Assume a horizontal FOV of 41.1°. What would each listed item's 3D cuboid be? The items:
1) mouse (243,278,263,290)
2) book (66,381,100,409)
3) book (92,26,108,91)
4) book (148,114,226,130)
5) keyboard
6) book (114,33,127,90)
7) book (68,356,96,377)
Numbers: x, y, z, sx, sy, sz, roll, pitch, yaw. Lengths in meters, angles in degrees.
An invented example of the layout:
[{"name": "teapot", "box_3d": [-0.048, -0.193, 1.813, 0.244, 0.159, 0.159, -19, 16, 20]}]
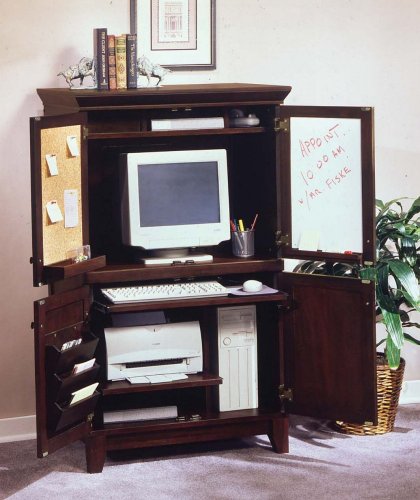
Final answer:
[{"name": "mouse", "box_3d": [0.166, 0.138, 2.254, 0.045, 0.025, 0.047, -2, 13, 11]}, {"name": "book", "box_3d": [-0.467, 0.524, 2.040, 0.018, 0.097, 0.167, 40, 25, 19]}, {"name": "book", "box_3d": [-0.436, -0.744, 2.195, 0.081, 0.232, 0.043, 2, 5, 38]}, {"name": "book", "box_3d": [-0.092, -0.515, 2.289, 0.297, 0.058, 0.038, -2, 4, -10]}, {"name": "keyboard", "box_3d": [-0.177, 0.162, 2.194, 0.492, 0.042, 0.218, -2, 5, -16]}, {"name": "book", "box_3d": [-0.352, -0.744, 2.201, 0.076, 0.200, 0.212, 0, 3, -8]}, {"name": "book", "box_3d": [-0.463, 0.415, 2.004, 0.016, 0.060, 0.099, 41, 29, 26]}]
